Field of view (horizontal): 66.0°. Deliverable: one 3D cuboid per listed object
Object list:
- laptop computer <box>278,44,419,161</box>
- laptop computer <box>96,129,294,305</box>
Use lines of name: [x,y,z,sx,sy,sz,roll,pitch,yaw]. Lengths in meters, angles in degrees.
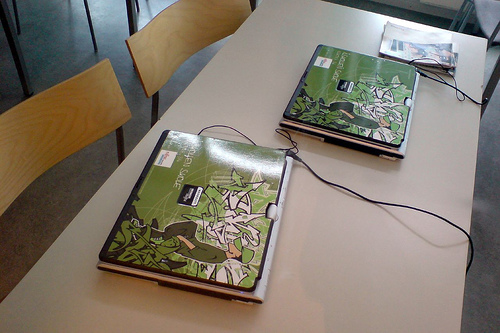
laptop computer: [0.334,-0.186,1.433,0.404,0.088,0.442,23,60,8]
laptop computer: [-0.136,0.119,1.131,0.458,0.294,0.395,11,26,5]
